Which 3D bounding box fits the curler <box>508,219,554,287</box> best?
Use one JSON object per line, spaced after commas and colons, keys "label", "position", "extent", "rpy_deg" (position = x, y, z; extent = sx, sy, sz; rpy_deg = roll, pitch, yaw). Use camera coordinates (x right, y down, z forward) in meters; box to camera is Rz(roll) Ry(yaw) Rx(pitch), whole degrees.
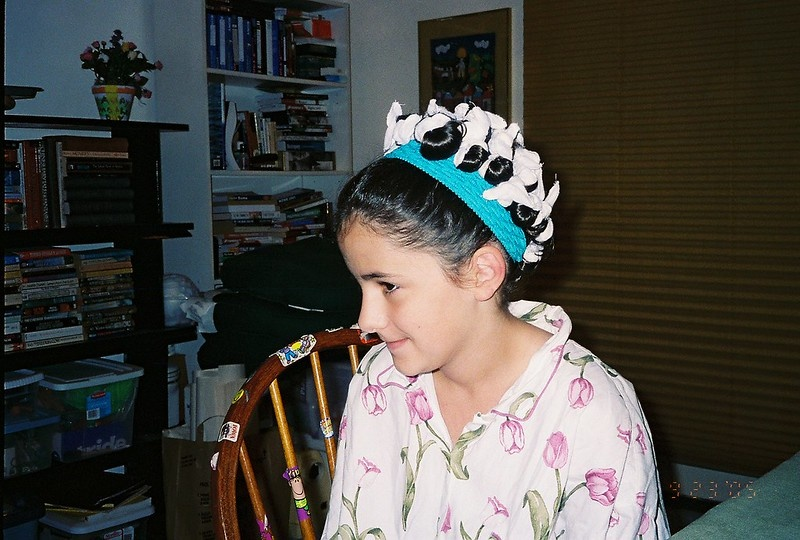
{"label": "curler", "position": [0.280, -0.016, 1.442], "extent": [0.080, 0.171, 0.091], "rpy_deg": [14, 22, 30]}

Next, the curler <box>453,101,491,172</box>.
{"label": "curler", "position": [0.161, -0.280, 1.370], "extent": [0.049, 0.138, 0.102], "rpy_deg": [5, 11, 25]}

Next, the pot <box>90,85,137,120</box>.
{"label": "pot", "position": [-1.292, -0.750, 2.893], "extent": [0.187, 0.139, 0.187], "rpy_deg": [-1, 8, 0]}
